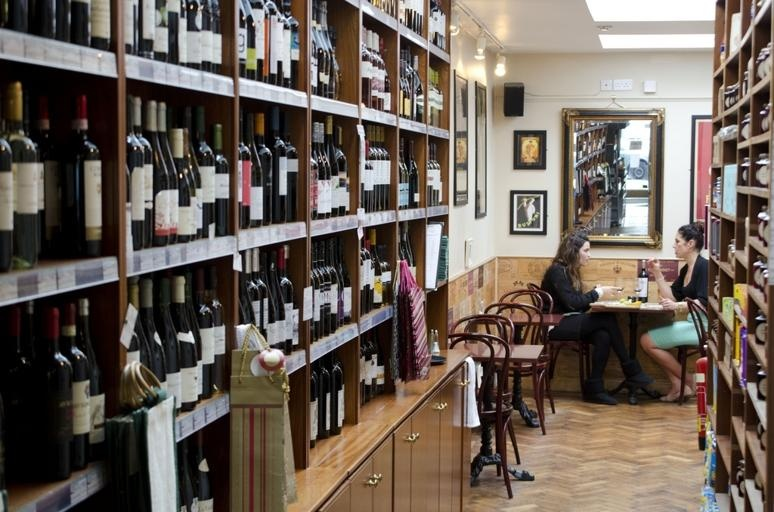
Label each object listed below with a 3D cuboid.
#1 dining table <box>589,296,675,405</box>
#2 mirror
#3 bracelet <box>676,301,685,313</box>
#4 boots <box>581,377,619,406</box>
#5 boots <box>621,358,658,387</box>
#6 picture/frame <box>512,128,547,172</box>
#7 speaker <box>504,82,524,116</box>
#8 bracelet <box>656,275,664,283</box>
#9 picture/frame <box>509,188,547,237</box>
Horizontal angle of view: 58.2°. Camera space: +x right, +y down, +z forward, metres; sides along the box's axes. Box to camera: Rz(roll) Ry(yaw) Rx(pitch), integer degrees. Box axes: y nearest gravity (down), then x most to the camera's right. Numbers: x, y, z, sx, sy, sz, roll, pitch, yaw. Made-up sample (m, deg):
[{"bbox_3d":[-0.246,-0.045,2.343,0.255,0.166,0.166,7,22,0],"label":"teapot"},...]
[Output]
[{"bbox_3d":[2.739,1.036,7.769,0.936,1.045,1.014,0,-1,22],"label":"dining table"},{"bbox_3d":[2.895,-0.979,8.651,1.566,2.359,0.227,1,1,9],"label":"mirror"},{"bbox_3d":[3.214,0.575,7.553,0.099,0.058,0.144,4,8,22],"label":"bracelet"},{"bbox_3d":[2.335,1.505,7.652,0.429,0.315,0.170,-1,1,35],"label":"boots"},{"bbox_3d":[2.797,1.307,7.700,0.345,0.380,0.227,-14,-1,15],"label":"boots"},{"bbox_3d":[1.832,-1.344,8.809,0.475,0.625,0.045,0,2,4],"label":"picture/frame"},{"bbox_3d":[1.592,-1.911,8.647,0.314,0.517,0.340,0,9,2],"label":"speaker"},{"bbox_3d":[3.115,0.277,7.907,0.086,0.100,0.082,-1,-3,-42],"label":"bracelet"},{"bbox_3d":[1.837,-0.545,8.884,0.536,0.711,0.054,1,-1,7],"label":"picture/frame"}]
